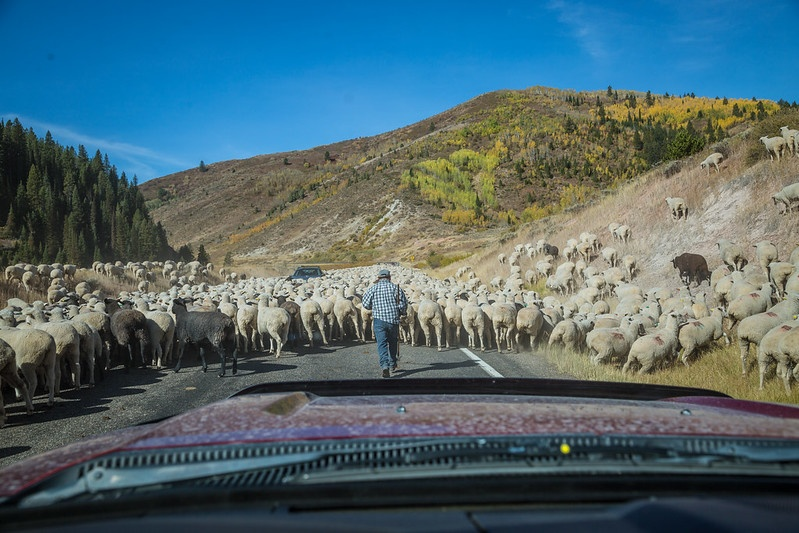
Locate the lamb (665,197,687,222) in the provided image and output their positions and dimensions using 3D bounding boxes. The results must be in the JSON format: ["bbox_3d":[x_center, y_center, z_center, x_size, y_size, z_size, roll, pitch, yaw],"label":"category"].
[{"bbox_3d":[10.629,-2.241,26.614,0.708,0.880,0.911,-3,0,22],"label":"lamb"}]

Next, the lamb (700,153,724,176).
[{"bbox_3d":[12.439,-4.110,27.676,0.722,0.867,1.189,-3,0,22],"label":"lamb"}]

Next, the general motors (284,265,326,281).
[{"bbox_3d":[-5.310,0.375,38.767,1.082,0.775,2.180,-1,-4,7],"label":"general motors"}]

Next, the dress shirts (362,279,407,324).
[{"bbox_3d":[-0.246,0.628,14.230,1.040,1.275,0.432,0,-33,-9],"label":"dress shirts"}]
